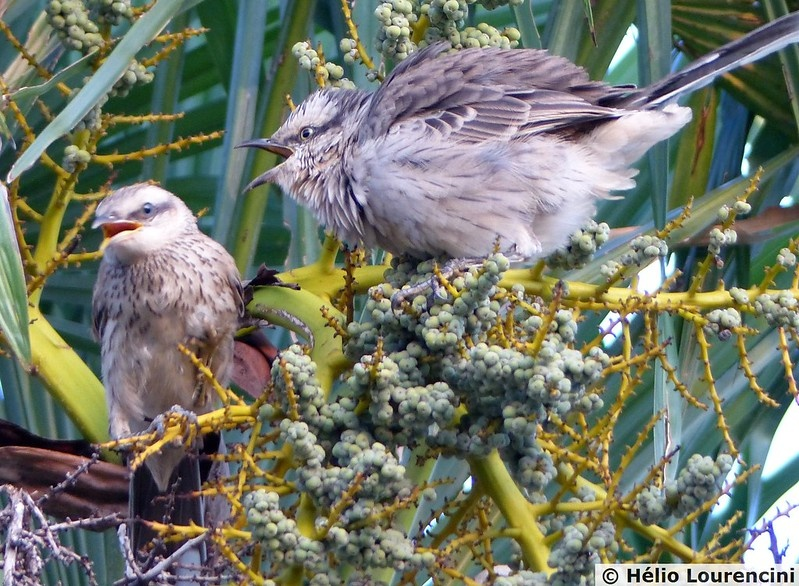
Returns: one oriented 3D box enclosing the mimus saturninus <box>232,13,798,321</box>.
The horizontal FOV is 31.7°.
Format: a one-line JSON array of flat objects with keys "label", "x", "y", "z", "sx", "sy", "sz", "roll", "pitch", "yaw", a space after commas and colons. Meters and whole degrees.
[{"label": "mimus saturninus", "x": 0.338, "y": -0.387, "z": 4.320, "sx": 1.354, "sy": 0.546, "sz": 0.388, "roll": -18, "pitch": 53, "yaw": 13}]
